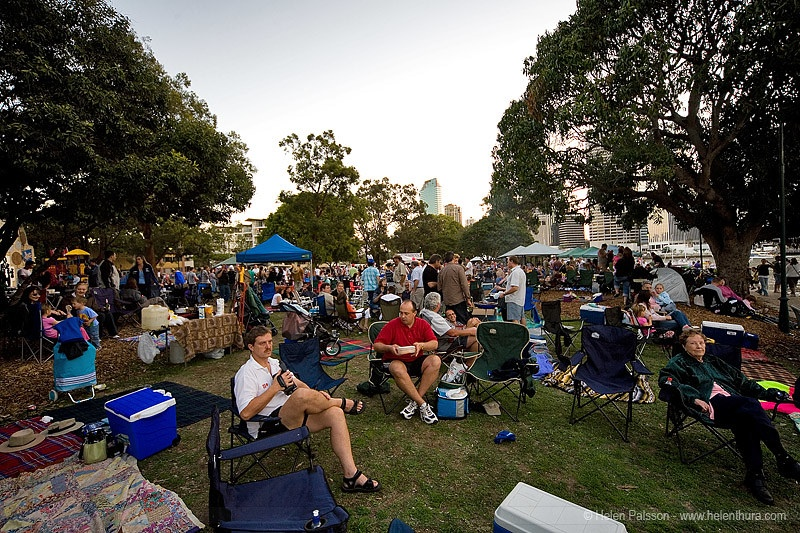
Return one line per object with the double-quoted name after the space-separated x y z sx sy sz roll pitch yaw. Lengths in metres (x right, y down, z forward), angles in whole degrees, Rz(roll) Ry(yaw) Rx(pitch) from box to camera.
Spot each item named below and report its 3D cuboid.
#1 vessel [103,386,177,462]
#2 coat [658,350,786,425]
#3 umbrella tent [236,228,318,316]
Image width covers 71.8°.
-4.882 2.885 10.262 1.152 1.422 1.037 -1 5 33 "vessel"
5.621 2.152 10.258 2.073 0.941 1.325 2 -4 -16 "coat"
-4.448 0.196 20.746 3.869 2.269 4.022 0 -2 2 "umbrella tent"
